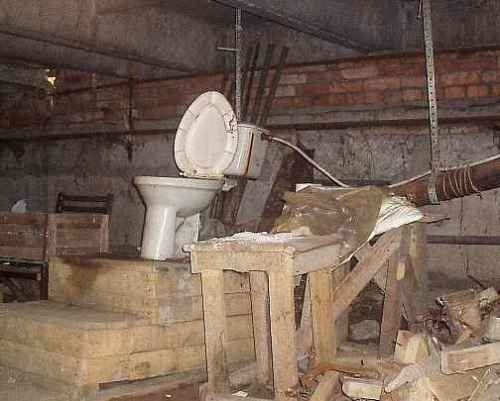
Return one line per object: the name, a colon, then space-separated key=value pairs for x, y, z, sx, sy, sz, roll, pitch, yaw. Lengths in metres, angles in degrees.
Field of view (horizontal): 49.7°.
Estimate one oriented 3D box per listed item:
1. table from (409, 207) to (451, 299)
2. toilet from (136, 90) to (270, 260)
table: x=1.214 y=0.317 z=3.658 sx=0.266 sy=0.674 sz=0.873 roll=-1 pitch=-9 yaw=20
toilet: x=-0.320 y=-0.161 z=3.604 sx=0.366 sy=1.137 sz=0.908 roll=-5 pitch=-11 yaw=43
